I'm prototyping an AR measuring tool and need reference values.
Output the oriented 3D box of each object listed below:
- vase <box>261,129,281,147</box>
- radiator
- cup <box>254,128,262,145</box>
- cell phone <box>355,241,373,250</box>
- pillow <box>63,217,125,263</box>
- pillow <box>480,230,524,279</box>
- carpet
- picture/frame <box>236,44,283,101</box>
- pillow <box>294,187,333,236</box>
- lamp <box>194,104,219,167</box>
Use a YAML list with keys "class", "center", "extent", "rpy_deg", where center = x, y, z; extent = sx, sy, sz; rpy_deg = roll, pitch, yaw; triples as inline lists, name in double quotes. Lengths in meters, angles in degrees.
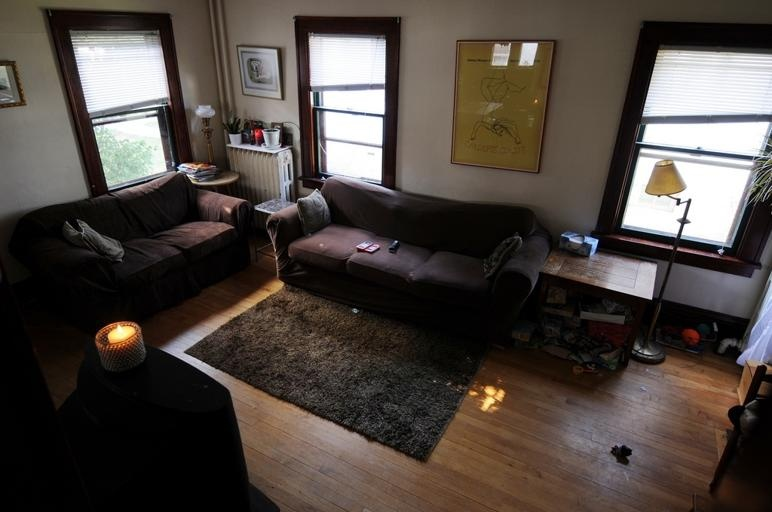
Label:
- class: "vase"
  center: [-1.339, -1.414, 6.214]
  extent: [0.194, 0.185, 0.228]
  rpy_deg: [-18, 27, -39]
- class: "radiator"
  center: [-1.451, -0.823, 6.120]
  extent: [0.884, 1.027, 0.394]
  rpy_deg: [12, 31, 25]
- class: "cup"
  center: [-1.566, -1.465, 6.369]
  extent: [0.091, 0.183, 0.226]
  rpy_deg: [-5, 26, -18]
- class: "cell phone"
  center: [-0.239, -0.111, 5.310]
  extent: [0.098, 0.023, 0.100]
  rpy_deg: [10, 27, 26]
- class: "pillow"
  center: [-2.813, -0.154, 5.042]
  extent: [0.524, 0.317, 0.409]
  rpy_deg: [-2, 25, -14]
- class: "pillow"
  center: [1.079, -0.016, 4.904]
  extent: [0.340, 0.365, 0.466]
  rpy_deg: [10, 25, 12]
- class: "carpet"
  center: [-0.380, 0.938, 4.742]
  extent: [2.258, 0.323, 1.305]
  rpy_deg: [15, 26, 21]
- class: "picture/frame"
  center: [-1.478, -2.197, 6.160]
  extent: [0.625, 0.589, 0.051]
  rpy_deg: [17, 40, 23]
- class: "pillow"
  center: [-0.779, -0.467, 5.667]
  extent: [0.180, 0.379, 0.524]
  rpy_deg: [7, 21, 25]
- class: "lamp"
  center: [-2.173, -1.464, 6.315]
  extent: [0.210, 0.737, 0.472]
  rpy_deg: [-5, 26, -19]
